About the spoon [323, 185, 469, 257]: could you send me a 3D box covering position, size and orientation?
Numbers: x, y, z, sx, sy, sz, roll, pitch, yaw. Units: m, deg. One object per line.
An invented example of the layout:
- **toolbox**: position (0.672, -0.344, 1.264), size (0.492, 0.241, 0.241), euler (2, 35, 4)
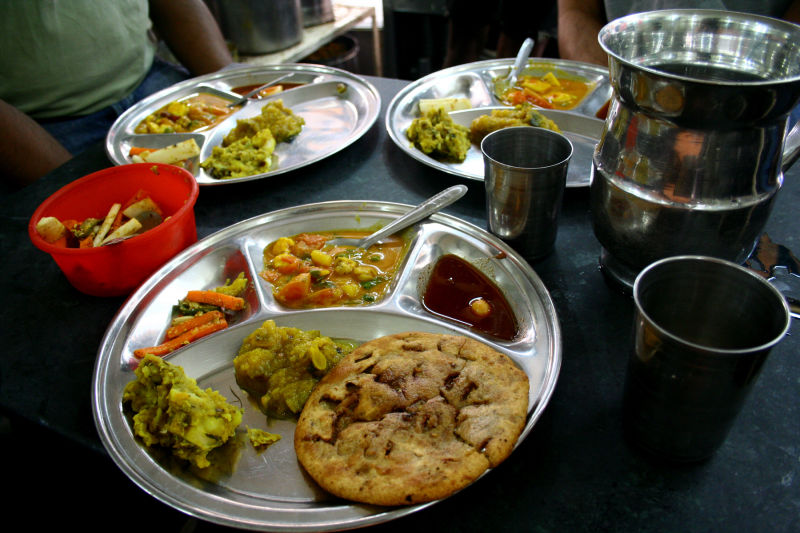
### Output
- **spoon**: position (-0.007, -0.203, 2.797), size (0.639, 0.133, 0.090), euler (-27, 10, 8)
